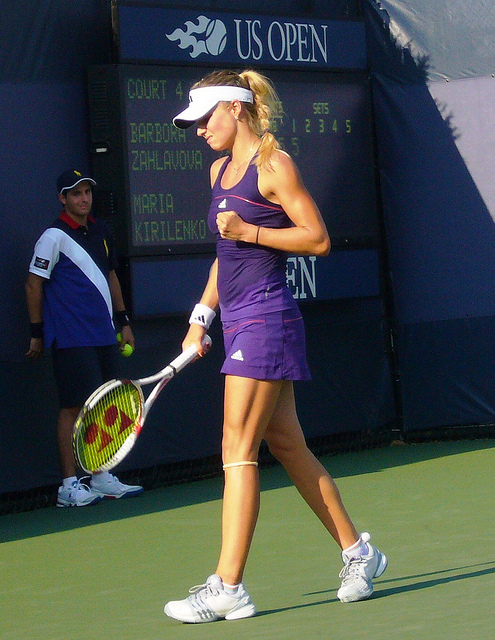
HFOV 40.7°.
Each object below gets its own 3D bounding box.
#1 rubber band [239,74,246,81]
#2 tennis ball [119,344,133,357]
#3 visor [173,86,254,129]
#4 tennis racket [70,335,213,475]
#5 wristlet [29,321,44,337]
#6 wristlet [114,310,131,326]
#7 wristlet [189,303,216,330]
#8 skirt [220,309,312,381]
[{"bbox_3d":[-0.016,-0.683,1.889,0.014,0.017,0.035,-2,13,0],"label":"rubber band"},{"bbox_3d":[-0.757,0.183,4.179,0.073,0.055,0.064,-12,13,-20],"label":"tennis ball"},{"bbox_3d":[-0.101,-0.598,1.853,0.175,0.075,0.122,-9,-5,-11],"label":"visor"},{"bbox_3d":[-0.560,0.415,3.439,0.935,0.328,0.075,-38,25,-29],"label":"tennis racket"},{"bbox_3d":[-1.231,0.051,3.868,0.076,0.079,0.078,4,4,24],"label":"wristlet"},{"bbox_3d":[-0.782,-0.014,4.232,0.092,0.100,0.094,-8,4,6],"label":"wristlet"},{"bbox_3d":[-0.142,-0.020,2.077,0.071,0.061,0.071,11,-13,37],"label":"wristlet"},{"bbox_3d":[0.045,0.069,1.750,0.226,0.183,0.159,-1,13,3],"label":"skirt"}]
